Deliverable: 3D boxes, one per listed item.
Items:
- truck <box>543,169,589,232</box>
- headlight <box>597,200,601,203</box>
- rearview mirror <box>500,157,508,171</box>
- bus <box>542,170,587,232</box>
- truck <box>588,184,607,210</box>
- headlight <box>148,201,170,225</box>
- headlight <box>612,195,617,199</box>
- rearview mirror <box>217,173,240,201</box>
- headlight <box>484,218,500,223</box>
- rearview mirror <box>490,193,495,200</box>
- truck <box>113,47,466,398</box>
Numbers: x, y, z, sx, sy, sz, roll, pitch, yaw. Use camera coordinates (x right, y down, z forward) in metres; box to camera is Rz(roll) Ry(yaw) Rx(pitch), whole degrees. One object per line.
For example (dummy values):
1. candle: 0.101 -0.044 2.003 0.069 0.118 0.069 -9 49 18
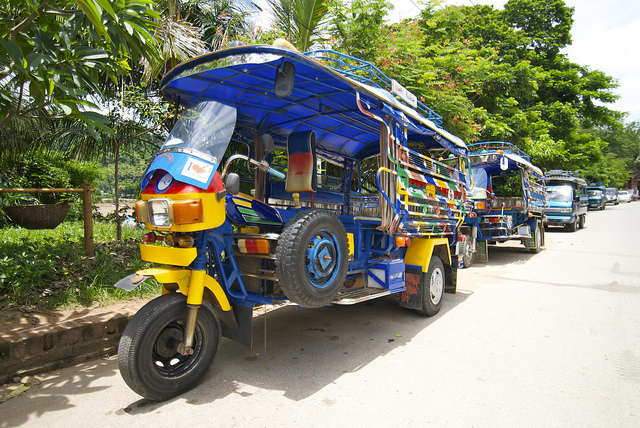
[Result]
1. truck: 12.560 -0.731 24.268 2.629 3.102 5.285 -2 -2 42
2. headlight: 23.596 -1.044 37.917 0.096 0.219 0.514 -1 -2 43
3. rearview mirror: 5.423 -1.440 13.267 0.300 0.399 0.095 1 1 -8
4. bus: 12.406 -0.629 24.145 2.669 3.026 5.042 -2 -1 42
5. truck: 24.155 -1.644 39.597 1.861 1.961 3.540 1 13 38
6. headlight: -2.388 -0.012 6.638 0.281 0.350 0.123 3 14 8
7. headlight: 34.037 -1.906 51.776 0.694 0.369 0.301 12 -13 -40
8. rearview mirror: -1.335 -0.400 6.892 0.396 0.387 0.319 -6 -7 15
9. headlight: 5.619 0.214 14.642 0.507 0.144 0.134 0 -1 0
10. rearview mirror: 5.780 -0.592 14.977 0.148 0.148 0.161 -1 -6 3
11. truck: -0.125 -0.068 10.178 4.328 5.245 9.206 -1 -1 36
